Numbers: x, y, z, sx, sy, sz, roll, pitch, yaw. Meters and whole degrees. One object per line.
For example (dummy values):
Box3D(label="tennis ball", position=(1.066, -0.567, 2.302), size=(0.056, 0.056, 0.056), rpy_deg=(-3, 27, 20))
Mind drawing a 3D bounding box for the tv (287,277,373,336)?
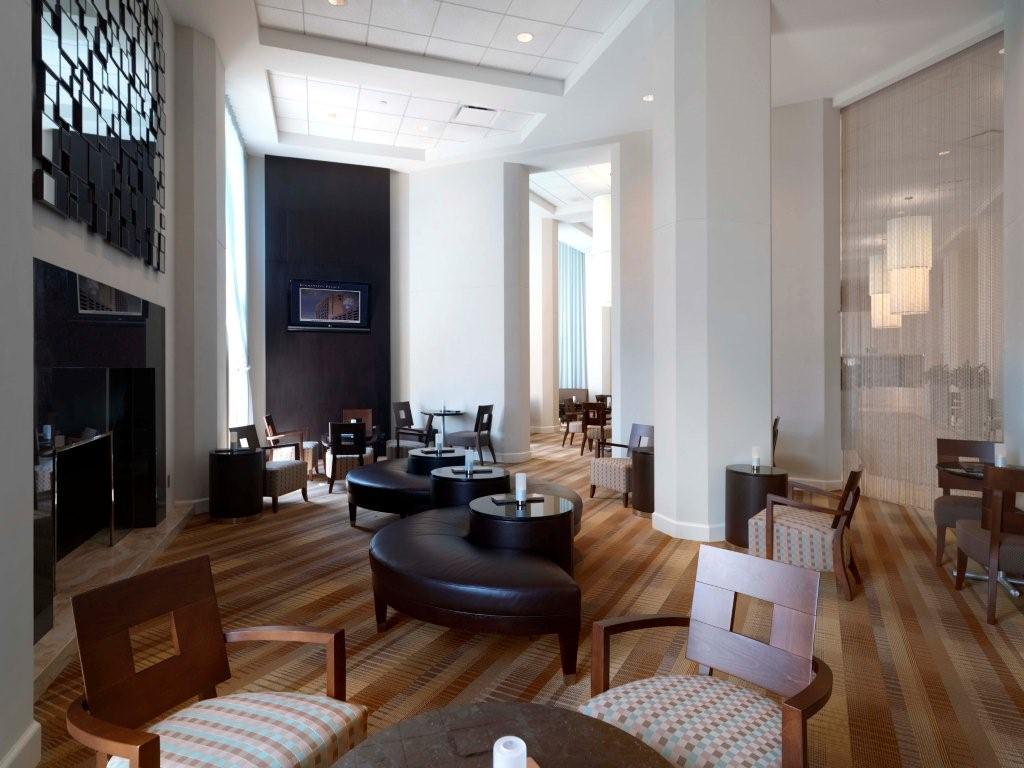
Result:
Box3D(label="tv", position=(-2.918, -1.234, 11.829), size=(1.304, 0.690, 0.111), rpy_deg=(-4, 2, -31))

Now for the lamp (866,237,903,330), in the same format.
Box3D(label="lamp", position=(4.470, -1.141, 8.884), size=(0.327, 0.879, 0.345), rpy_deg=(-8, 14, 22))

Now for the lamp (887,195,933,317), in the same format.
Box3D(label="lamp", position=(4.496, -1.331, 8.365), size=(0.434, 1.071, 0.450), rpy_deg=(1, 4, 41))
